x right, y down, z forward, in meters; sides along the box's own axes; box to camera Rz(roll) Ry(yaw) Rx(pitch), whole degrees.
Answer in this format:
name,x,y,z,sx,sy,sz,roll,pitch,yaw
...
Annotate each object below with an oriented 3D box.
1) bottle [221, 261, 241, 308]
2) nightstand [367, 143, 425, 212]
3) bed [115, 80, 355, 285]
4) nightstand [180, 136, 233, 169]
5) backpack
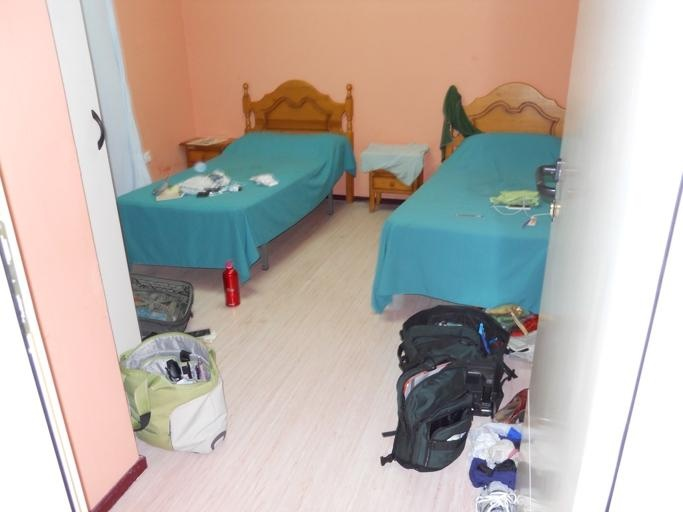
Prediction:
name,x,y,z,sx,sy,sz,roll,pitch,yaw
bottle,-0.776,0.174,3.491,0.122,0.308,0.220,-10,24,-11
nightstand,0.545,-0.808,5.197,0.664,0.678,0.543,7,24,23
bed,-0.895,-0.696,4.583,1.503,1.357,2.291,9,25,21
nightstand,-1.459,-1.104,5.344,0.443,0.421,0.290,12,28,23
backpack,0.514,0.558,2.397,0.564,0.336,0.737,3,34,19
